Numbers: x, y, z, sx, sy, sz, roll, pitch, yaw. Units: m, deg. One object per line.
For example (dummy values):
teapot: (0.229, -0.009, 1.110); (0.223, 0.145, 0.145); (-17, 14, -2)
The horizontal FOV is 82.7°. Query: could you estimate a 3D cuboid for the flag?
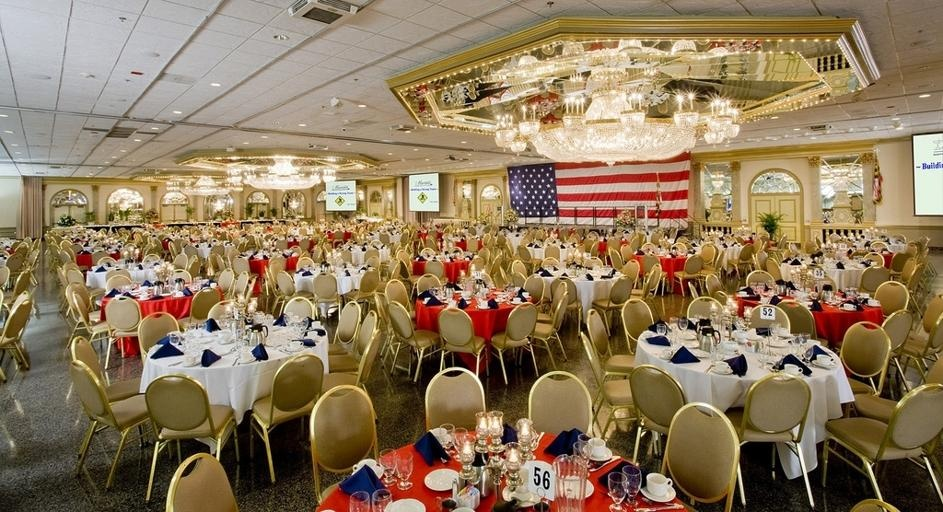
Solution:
flag: (5.800, -3.080, 26.192); (9.096, 3.149, 0.110); (1, 12, 24)
